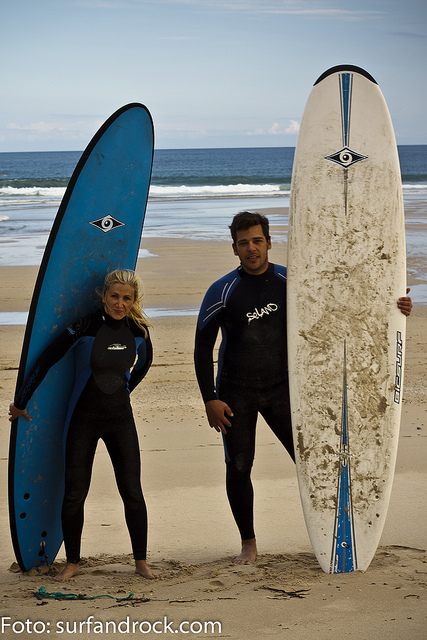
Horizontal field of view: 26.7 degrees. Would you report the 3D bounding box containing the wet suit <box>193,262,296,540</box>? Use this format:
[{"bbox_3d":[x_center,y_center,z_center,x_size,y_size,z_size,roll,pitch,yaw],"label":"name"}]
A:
[{"bbox_3d":[0.151,0.328,3.749,0.442,1.134,0.302,-6,11,-11],"label":"wet suit"}]

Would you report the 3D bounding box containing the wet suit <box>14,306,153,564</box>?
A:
[{"bbox_3d":[-0.472,0.455,3.614,0.603,1.001,0.386,-7,12,-19],"label":"wet suit"}]

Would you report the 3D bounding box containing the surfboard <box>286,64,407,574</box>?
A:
[{"bbox_3d":[0.558,-0.198,3.835,0.573,2.402,0.250,4,-8,-10],"label":"surfboard"}]

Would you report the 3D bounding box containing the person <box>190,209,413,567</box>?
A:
[{"bbox_3d":[0.178,0.278,3.676,0.459,1.415,0.381,-7,12,-18],"label":"person"}]
